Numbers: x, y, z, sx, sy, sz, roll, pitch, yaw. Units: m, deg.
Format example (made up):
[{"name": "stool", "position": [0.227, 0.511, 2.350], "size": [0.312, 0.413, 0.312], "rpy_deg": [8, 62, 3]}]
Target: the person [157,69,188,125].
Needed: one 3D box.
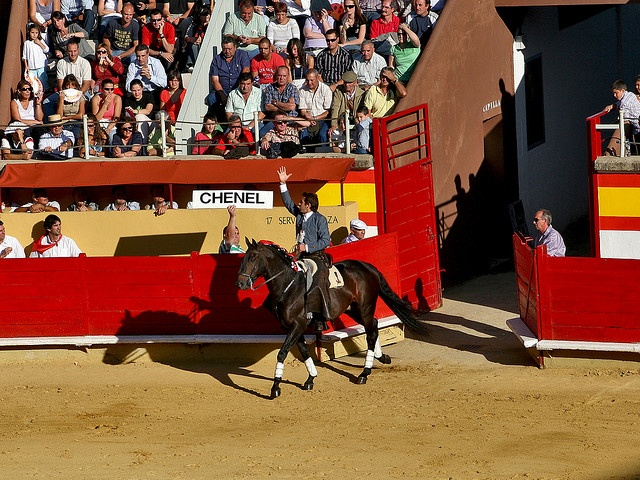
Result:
[{"name": "person", "position": [-3.193, -2.904, 29.166], "size": [0.544, 1.500, 0.468], "rpy_deg": [-10, 46, -19]}]

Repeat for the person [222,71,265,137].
[{"name": "person", "position": [-1.541, -2.720, 27.990], "size": [0.844, 1.205, 0.719], "rpy_deg": [1, 28, -3]}]

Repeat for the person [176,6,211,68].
[{"name": "person", "position": [-2.776, -4.389, 30.307], "size": [0.702, 1.367, 0.550], "rpy_deg": [2, 6, 20]}]

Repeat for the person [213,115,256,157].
[{"name": "person", "position": [-1.753, -2.080, 27.295], "size": [0.832, 0.813, 1.014], "rpy_deg": [0, 30, -14]}]

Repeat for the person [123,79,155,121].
[{"name": "person", "position": [-3.802, -2.930, 28.579], "size": [0.632, 0.934, 0.839], "rpy_deg": [0, 8, 2]}]

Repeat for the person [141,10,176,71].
[{"name": "person", "position": [-3.576, -4.356, 30.370], "size": [0.740, 1.376, 0.968], "rpy_deg": [-10, 45, -13]}]

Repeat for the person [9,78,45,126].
[{"name": "person", "position": [-6.144, -2.779, 28.595], "size": [0.729, 1.006, 0.761], "rpy_deg": [-1, 10, -26]}]

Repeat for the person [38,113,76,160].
[{"name": "person", "position": [-5.424, -2.021, 27.868], "size": [0.661, 1.013, 1.031], "rpy_deg": [-3, 13, -2]}]

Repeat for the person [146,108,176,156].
[{"name": "person", "position": [-3.208, -2.141, 27.610], "size": [0.585, 0.881, 1.300], "rpy_deg": [-1, 5, -7]}]

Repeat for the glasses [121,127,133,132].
[{"name": "glasses", "position": [-3.897, -2.213, 27.566], "size": [0.211, 0.127, 0.214], "rpy_deg": [-2, 6, -19]}]

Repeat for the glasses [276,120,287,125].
[{"name": "glasses", "position": [-0.768, -2.315, 27.050], "size": [0.205, 0.087, 0.183], "rpy_deg": [0, 5, 2]}]

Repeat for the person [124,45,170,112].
[{"name": "person", "position": [-3.770, -3.384, 29.416], "size": [0.945, 1.535, 0.982], "rpy_deg": [-9, 29, -11]}]

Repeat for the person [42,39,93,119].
[{"name": "person", "position": [-5.398, -3.300, 29.392], "size": [0.970, 1.843, 1.078], "rpy_deg": [-1, 10, -1]}]

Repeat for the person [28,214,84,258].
[{"name": "person", "position": [-5.035, -0.069, 25.940], "size": [0.773, 0.947, 0.279], "rpy_deg": [-2, -7, -15]}]

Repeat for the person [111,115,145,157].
[{"name": "person", "position": [-3.923, -1.977, 27.546], "size": [0.584, 1.159, 1.156], "rpy_deg": [-1, 5, 1]}]

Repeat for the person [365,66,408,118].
[{"name": "person", "position": [1.289, -2.944, 27.384], "size": [1.030, 0.963, 0.341], "rpy_deg": [4, 6, 33]}]

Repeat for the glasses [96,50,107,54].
[{"name": "glasses", "position": [-4.731, -4.069, 29.665], "size": [0.228, 0.098, 0.149], "rpy_deg": [-1, 5, -9]}]

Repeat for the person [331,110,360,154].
[{"name": "person", "position": [0.479, -2.082, 27.206], "size": [0.571, 0.854, 0.533], "rpy_deg": [-4, 24, 10]}]

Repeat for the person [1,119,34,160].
[{"name": "person", "position": [-6.167, -1.997, 27.858], "size": [0.639, 1.147, 0.665], "rpy_deg": [0, -24, -11]}]

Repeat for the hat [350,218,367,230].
[{"name": "hat", "position": [0.688, -0.271, 24.895], "size": [0.232, 0.109, 0.172], "rpy_deg": [1, 13, 30]}]

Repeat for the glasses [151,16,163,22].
[{"name": "glasses", "position": [-3.612, -4.864, 30.207], "size": [0.240, 0.163, 0.295], "rpy_deg": [-1, 5, -9]}]

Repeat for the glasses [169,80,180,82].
[{"name": "glasses", "position": [-3.084, -3.341, 28.818], "size": [0.237, 0.056, 0.139], "rpy_deg": [0, 5, -6]}]

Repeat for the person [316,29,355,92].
[{"name": "person", "position": [0.259, -3.721, 28.657], "size": [0.845, 1.275, 0.817], "rpy_deg": [6, 19, 29]}]

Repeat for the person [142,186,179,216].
[{"name": "person", "position": [-3.125, -0.776, 26.908], "size": [0.596, 0.575, 0.828], "rpy_deg": [-1, 5, -9]}]

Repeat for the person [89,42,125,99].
[{"name": "person", "position": [-4.657, -3.560, 29.923], "size": [0.713, 1.336, 0.722], "rpy_deg": [1, 9, 25]}]

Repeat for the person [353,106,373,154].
[{"name": "person", "position": [0.861, -2.161, 27.116], "size": [0.348, 0.895, 0.447], "rpy_deg": [0, 5, 1]}]

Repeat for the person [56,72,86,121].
[{"name": "person", "position": [-5.266, -3.012, 28.813], "size": [0.675, 1.001, 0.282], "rpy_deg": [-1, -2, -10]}]

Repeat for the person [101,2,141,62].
[{"name": "person", "position": [-4.355, -4.591, 30.241], "size": [1.020, 1.613, 1.242], "rpy_deg": [6, 6, -11]}]

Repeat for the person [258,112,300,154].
[{"name": "person", "position": [-0.818, -2.076, 27.185], "size": [0.636, 1.001, 0.586], "rpy_deg": [12, 8, -3]}]

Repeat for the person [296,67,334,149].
[{"name": "person", "position": [-0.085, -2.450, 27.894], "size": [0.727, 1.990, 0.969], "rpy_deg": [-3, 3, 2]}]
